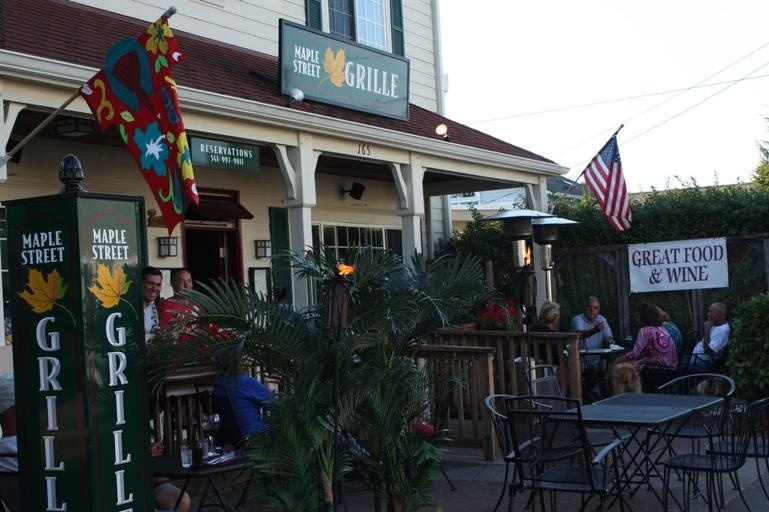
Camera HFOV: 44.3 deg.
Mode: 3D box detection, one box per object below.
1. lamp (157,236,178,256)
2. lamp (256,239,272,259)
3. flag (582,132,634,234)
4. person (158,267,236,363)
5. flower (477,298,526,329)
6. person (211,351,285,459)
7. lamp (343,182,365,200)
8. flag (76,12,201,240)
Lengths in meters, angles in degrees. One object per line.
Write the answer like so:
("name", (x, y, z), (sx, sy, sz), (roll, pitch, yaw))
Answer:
("lamp", (-3.250, -0.162, 14.051), (0.073, 0.243, 0.260), (-7, -6, 40))
("lamp", (-2.004, -0.139, 15.530), (0.104, 0.260, 0.279), (-4, -4, 35))
("flag", (3.750, -1.282, 15.757), (0.817, 2.502, 0.231), (-4, -38, 2))
("person", (-1.746, 0.512, 8.425), (0.575, 0.805, 0.553), (8, 18, 36))
("flower", (1.903, 0.960, 15.261), (0.598, 0.522, 0.675), (3, -4, -14))
("person", (-1.381, 1.336, 9.649), (0.572, 0.983, 0.527), (8, 23, 27))
("lamp", (-0.508, -1.213, 17.358), (0.332, 0.305, 0.586), (-9, -7, 25))
("flag", (-2.528, -1.347, 10.027), (1.201, 2.219, 0.387), (-10, -8, 32))
